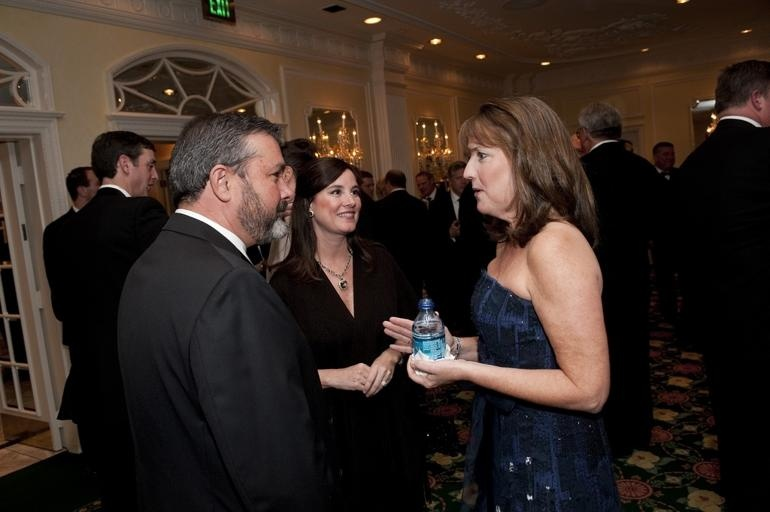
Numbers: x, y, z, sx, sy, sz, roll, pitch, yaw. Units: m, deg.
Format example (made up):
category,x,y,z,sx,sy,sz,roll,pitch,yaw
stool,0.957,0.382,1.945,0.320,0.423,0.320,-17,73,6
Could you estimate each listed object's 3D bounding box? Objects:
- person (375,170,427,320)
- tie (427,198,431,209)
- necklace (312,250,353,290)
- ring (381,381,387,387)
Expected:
category,x,y,z,sx,sy,sz,roll,pitch,yaw
person,0.370,-0.268,6.456,0.591,1.640,0.507,-10,30,7
tie,0.631,-0.713,7.272,0.076,0.161,0.154,1,-6,11
necklace,-0.229,0.081,3.070,0.185,0.180,0.068,-19,-10,-17
ring,0.020,0.672,2.840,0.028,0.014,0.033,-5,-21,-7
